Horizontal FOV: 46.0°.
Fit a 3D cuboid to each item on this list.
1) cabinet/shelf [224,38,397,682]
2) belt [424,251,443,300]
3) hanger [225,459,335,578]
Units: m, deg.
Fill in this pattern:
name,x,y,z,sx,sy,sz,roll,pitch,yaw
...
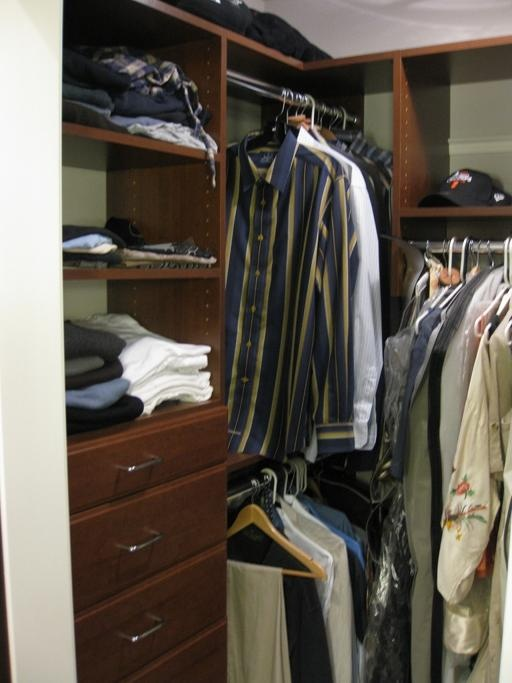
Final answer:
name,x,y,z,sx,sy,sz,roll,pitch,yaw
cabinet/shelf,0.181,0.033,1.666,0.394,1.572,0.628,1,4,23
belt,0.450,-0.170,1.521,0.030,0.101,0.075,1,11,-10
hanger,-0.002,0.432,1.438,0.356,0.245,0.017,-5,6,39
